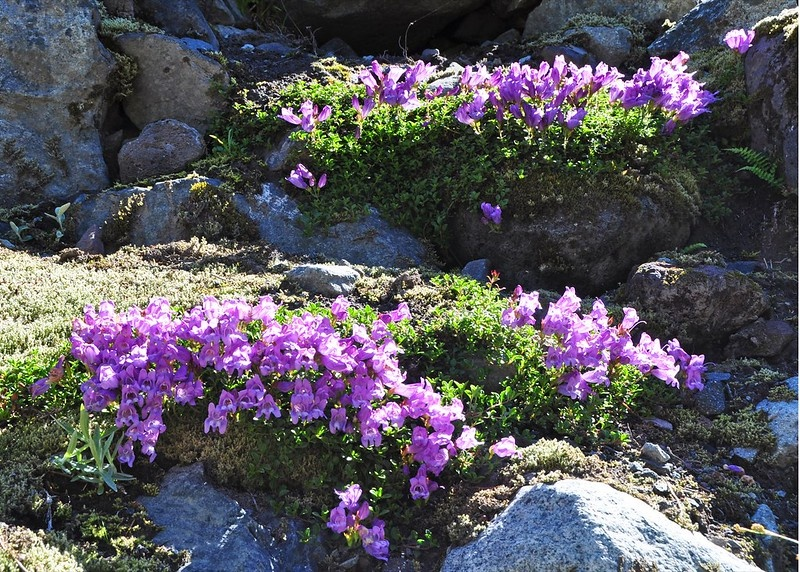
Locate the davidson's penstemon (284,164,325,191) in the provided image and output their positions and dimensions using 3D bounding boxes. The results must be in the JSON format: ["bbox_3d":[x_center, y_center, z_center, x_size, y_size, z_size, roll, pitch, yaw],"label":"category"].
[{"bbox_3d":[-1.184,-1.328,11.688,0.451,0.216,0.314,-9,3,-4],"label":"davidson's penstemon"}]

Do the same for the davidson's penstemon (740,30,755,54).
[{"bbox_3d":[4.463,-3.110,12.120,0.145,0.310,0.307,10,19,18],"label":"davidson's penstemon"}]

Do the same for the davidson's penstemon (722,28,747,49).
[{"bbox_3d":[4.309,-3.146,12.194,0.286,0.335,0.174,5,10,9],"label":"davidson's penstemon"}]

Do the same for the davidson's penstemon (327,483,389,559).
[{"bbox_3d":[-0.393,2.153,8.468,0.443,0.370,0.439,46,24,16],"label":"davidson's penstemon"}]

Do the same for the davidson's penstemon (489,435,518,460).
[{"bbox_3d":[0.954,1.506,8.683,0.209,0.107,0.217,7,-3,-15],"label":"davidson's penstemon"}]
